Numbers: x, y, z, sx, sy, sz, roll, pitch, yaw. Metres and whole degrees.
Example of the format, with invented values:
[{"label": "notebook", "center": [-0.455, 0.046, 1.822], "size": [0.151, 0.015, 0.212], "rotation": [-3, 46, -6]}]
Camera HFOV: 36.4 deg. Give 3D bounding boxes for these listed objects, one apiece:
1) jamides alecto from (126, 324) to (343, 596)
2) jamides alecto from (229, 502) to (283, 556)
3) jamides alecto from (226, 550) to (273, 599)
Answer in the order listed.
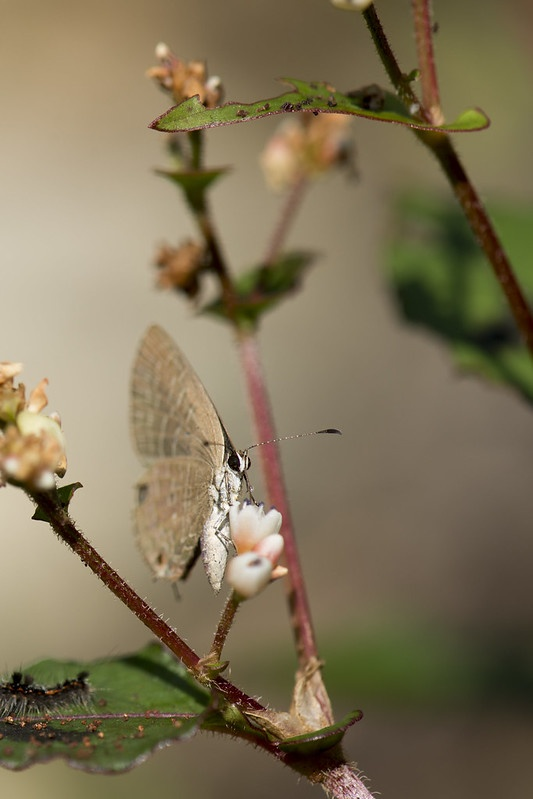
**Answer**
[{"label": "jamides alecto", "center": [-0.103, 0.087, 0.942], "size": [0.184, 0.289, 0.170], "rotation": [18, -38, -43]}, {"label": "jamides alecto", "center": [-0.011, 0.103, 0.653], "size": [0.046, 0.041, 0.038], "rotation": [5, -8, -21]}, {"label": "jamides alecto", "center": [-0.013, 0.132, 0.618], "size": [0.038, 0.030, 0.031], "rotation": [-3, 1, -44]}]
